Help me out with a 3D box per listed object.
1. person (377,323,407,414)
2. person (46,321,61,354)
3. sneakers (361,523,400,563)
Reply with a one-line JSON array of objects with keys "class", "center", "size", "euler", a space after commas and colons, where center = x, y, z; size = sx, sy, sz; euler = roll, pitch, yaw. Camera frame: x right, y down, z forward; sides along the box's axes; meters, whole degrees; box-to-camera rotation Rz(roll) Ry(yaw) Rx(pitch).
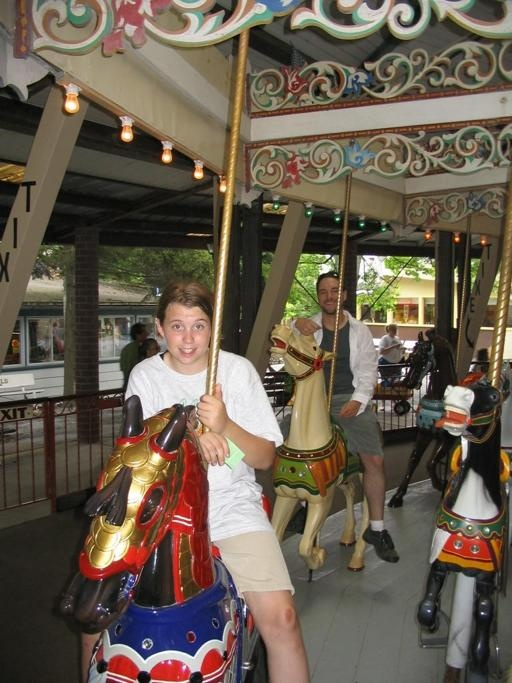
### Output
[{"class": "person", "center": [3.532, 0.618, 12.520], "size": [0.872, 2.082, 0.846], "euler": [2, 7, 1]}, {"class": "person", "center": [-6.336, -0.102, 15.421], "size": [0.183, 1.077, 0.528], "euler": [-2, -2, 7]}, {"class": "sneakers", "center": [0.919, 1.528, 3.706], "size": [0.149, 0.162, 0.394], "euler": [6, 3, -27]}]
